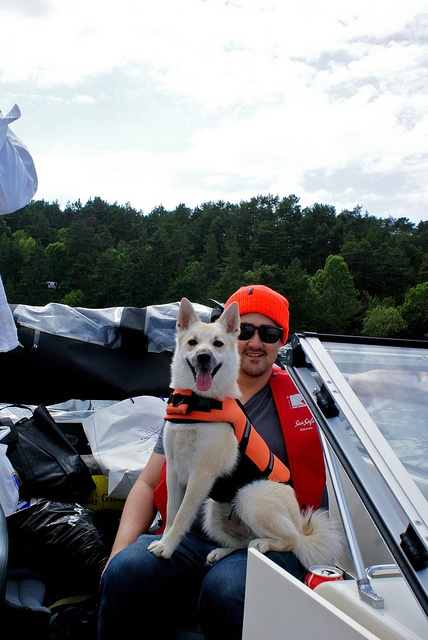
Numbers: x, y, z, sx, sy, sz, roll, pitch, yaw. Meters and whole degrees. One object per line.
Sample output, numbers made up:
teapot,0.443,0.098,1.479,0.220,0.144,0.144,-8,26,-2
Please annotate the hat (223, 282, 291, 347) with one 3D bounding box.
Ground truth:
hat,0.315,-0.056,3.275,0.385,0.328,0.469,22,-27,-10

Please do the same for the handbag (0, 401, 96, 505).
handbag,-1.246,1.013,3.565,0.357,0.706,0.684,-44,0,3

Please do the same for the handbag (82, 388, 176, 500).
handbag,-0.720,0.947,3.787,0.639,0.209,0.865,0,32,-5
